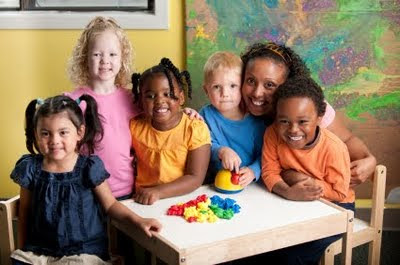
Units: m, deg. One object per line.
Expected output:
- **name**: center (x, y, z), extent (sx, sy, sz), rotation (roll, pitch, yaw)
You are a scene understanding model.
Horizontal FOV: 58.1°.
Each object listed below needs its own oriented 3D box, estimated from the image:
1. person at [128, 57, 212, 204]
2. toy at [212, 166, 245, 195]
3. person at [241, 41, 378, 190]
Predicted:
- **person**: center (-0.234, -0.019, 1.885), extent (0.552, 0.720, 0.479), rotation (4, 15, 22)
- **toy**: center (0.143, 0.242, 1.818), extent (0.124, 0.095, 0.120), rotation (-1, 5, -35)
- **person**: center (0.566, 0.011, 2.031), extent (0.962, 0.559, 0.387), rotation (2, 14, 13)
